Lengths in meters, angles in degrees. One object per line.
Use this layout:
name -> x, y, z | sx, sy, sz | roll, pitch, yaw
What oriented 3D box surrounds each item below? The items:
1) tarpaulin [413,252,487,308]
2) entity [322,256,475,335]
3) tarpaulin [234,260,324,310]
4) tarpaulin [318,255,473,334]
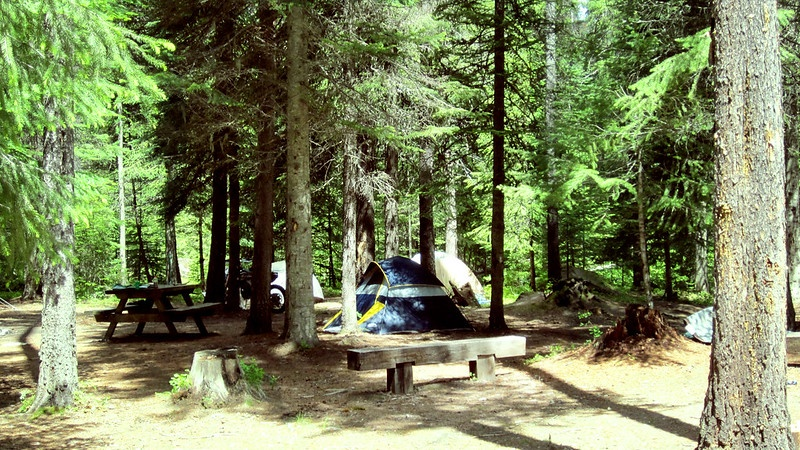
tarpaulin -> 2.134, 2.166, 28.785 | 2.421, 1.027, 2.423 | 2, -1, 37
entity -> -0.076, 2.368, 22.196 | 3.194, 1.459, 2.761 | 3, -6, -26
tarpaulin -> -4.786, 2.296, 27.966 | 3.333, 1.127, 2.096 | 3, -6, -1
tarpaulin -> 0.064, 2.298, 22.283 | 3.233, 1.461, 2.726 | 4, -6, -26
